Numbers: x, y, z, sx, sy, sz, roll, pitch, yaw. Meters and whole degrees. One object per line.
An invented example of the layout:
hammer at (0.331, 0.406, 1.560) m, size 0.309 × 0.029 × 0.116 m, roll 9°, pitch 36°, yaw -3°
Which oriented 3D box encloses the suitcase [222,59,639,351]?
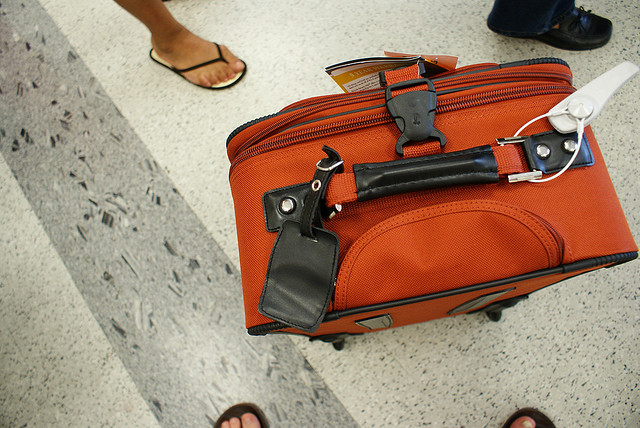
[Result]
suitcase at (0.271, 0.019, 1.973) m, size 1.193 × 1.165 × 0.705 m, roll -10°, pitch 77°, yaw 2°
